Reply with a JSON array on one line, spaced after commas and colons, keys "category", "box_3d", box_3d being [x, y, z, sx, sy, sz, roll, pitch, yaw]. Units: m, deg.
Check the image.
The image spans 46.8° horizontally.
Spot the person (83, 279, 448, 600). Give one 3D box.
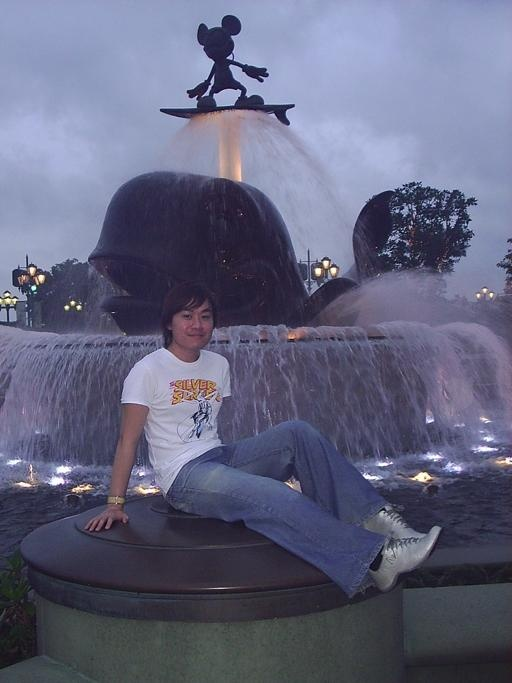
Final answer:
[{"category": "person", "box_3d": [0.047, 0.336, 2.420, 1.423, 0.985, 1.063, 8, 9, 40]}]

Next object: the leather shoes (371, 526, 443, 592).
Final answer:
[{"category": "leather shoes", "box_3d": [0.518, 0.767, 2.051, 0.233, 0.232, 0.132, -2, -2, 20]}]
